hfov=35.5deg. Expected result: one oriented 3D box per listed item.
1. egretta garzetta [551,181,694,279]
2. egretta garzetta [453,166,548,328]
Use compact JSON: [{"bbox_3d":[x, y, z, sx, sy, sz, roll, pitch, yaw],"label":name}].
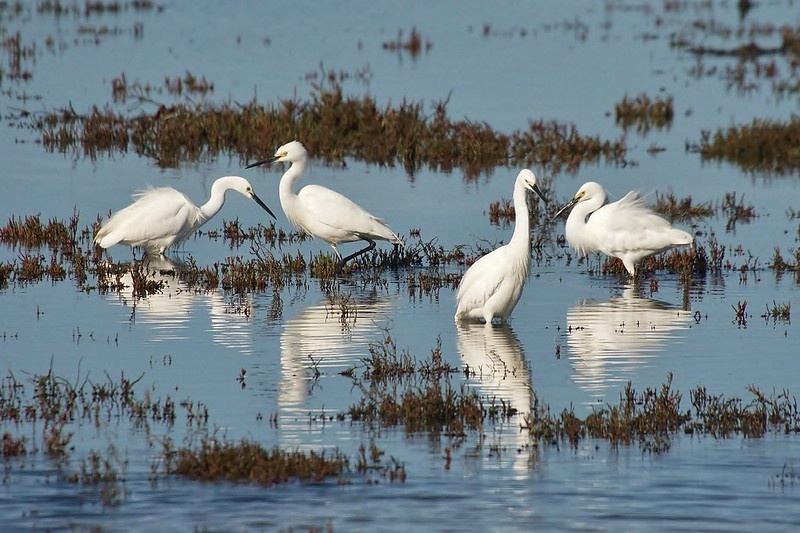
[{"bbox_3d":[4.165,-0.722,23.539,2.355,1.856,0.940,-1,-1,42],"label":"egretta garzetta"},{"bbox_3d":[1.578,-0.357,20.433,1.241,2.467,0.727,0,-1,6],"label":"egretta garzetta"}]
